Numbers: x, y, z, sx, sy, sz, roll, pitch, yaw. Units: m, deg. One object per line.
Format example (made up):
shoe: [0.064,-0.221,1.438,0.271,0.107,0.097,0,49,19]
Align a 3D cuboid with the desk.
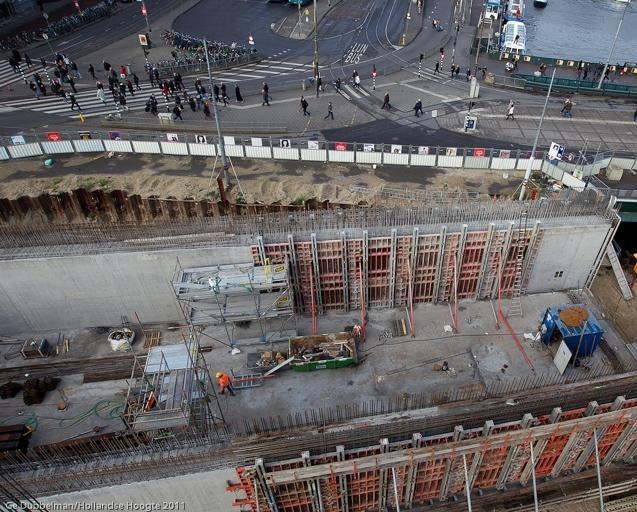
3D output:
desk: [15.942,5.020,30.976,3.221,4.376,3.221,-2,26,8]
